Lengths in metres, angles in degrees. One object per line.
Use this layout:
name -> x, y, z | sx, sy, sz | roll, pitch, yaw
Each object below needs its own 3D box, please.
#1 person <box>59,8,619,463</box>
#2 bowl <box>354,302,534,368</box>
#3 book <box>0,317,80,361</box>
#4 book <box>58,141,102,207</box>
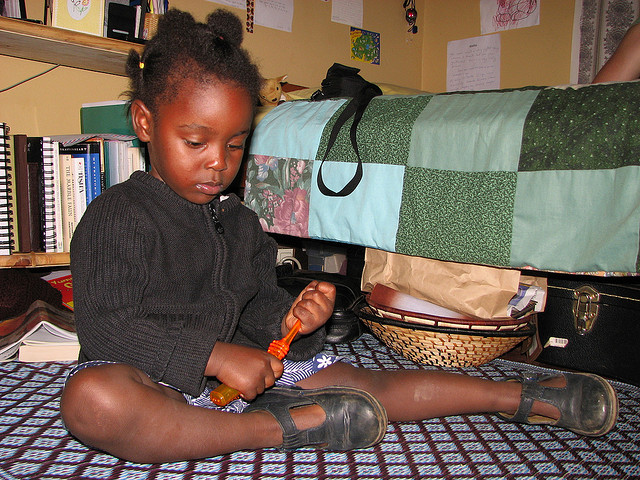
person -> -0.085, -0.055, 1.143 | 0.960, 0.953, 0.585 | -5, 13, -21
bowl -> 0.381, 0.289, 1.512 | 0.569, 0.168, 0.584 | 3, -8, 0
book -> -0.770, 0.273, 1.367 | 0.170, 0.039, 0.160 | 0, 3, -8
book -> -0.832, -0.285, 1.735 | 0.096, 0.270, 0.283 | 2, 36, -20
